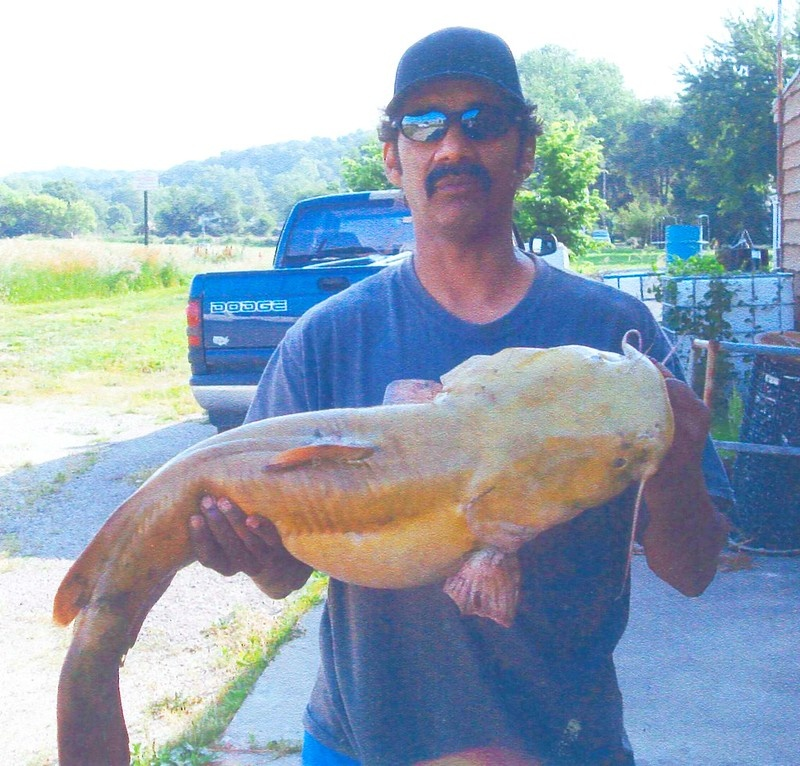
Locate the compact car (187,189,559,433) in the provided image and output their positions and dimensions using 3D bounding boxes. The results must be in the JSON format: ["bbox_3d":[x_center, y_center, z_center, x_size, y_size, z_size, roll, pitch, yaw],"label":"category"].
[{"bbox_3d":[-0.376,-0.759,8.271,2.136,1.064,3.273,0,8,25],"label":"compact car"}]

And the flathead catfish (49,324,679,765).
[{"bbox_3d":[-0.033,0.232,2.278,1.592,0.721,0.425,-5,-25,15],"label":"flathead catfish"}]

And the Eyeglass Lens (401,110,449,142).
[{"bbox_3d":[0.063,-0.610,2.516,0.121,0.065,0.038,-13,-14,10],"label":"Eyeglass Lens"}]
